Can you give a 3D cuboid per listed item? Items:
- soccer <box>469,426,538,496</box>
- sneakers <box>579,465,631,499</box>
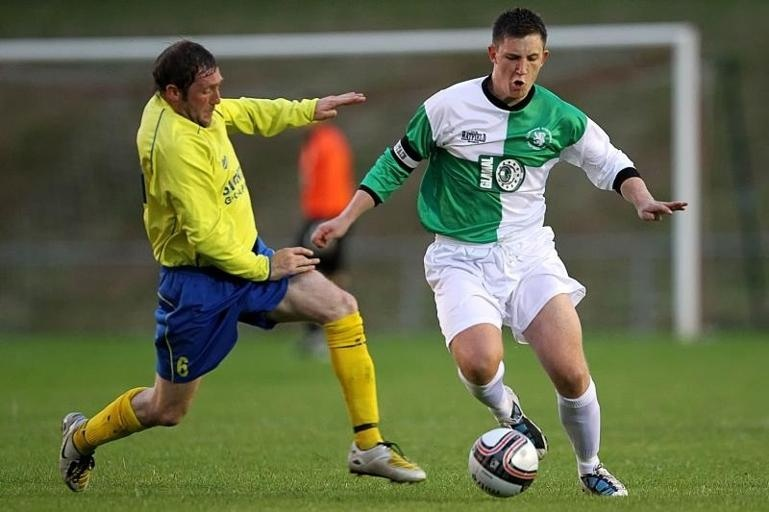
[{"bbox_3d":[0.873,1.615,7.643,0.489,0.481,0.467,9,-17,-5],"label":"soccer"},{"bbox_3d":[1.702,1.748,7.668,0.151,0.179,0.399,-10,9,-40],"label":"sneakers"}]
